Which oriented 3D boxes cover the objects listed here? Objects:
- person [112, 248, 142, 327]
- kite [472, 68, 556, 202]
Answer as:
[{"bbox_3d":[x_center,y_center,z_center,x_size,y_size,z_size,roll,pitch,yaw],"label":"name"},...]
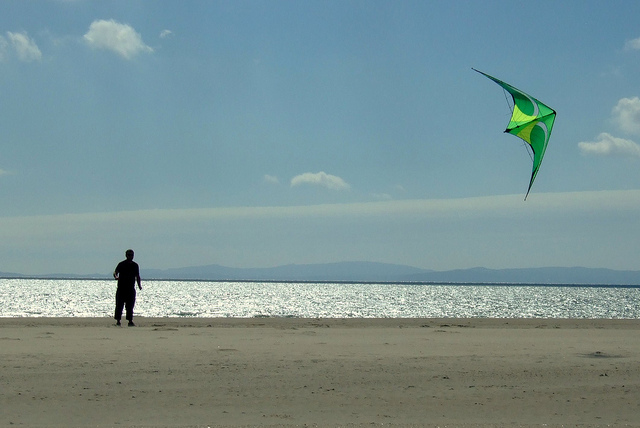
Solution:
[{"bbox_3d":[-7.546,2.832,48.782,1.156,3.024,0.906,4,6,-8],"label":"person"},{"bbox_3d":[7.565,-3.283,45.763,2.258,6.359,0.157,-18,40,12],"label":"kite"}]
